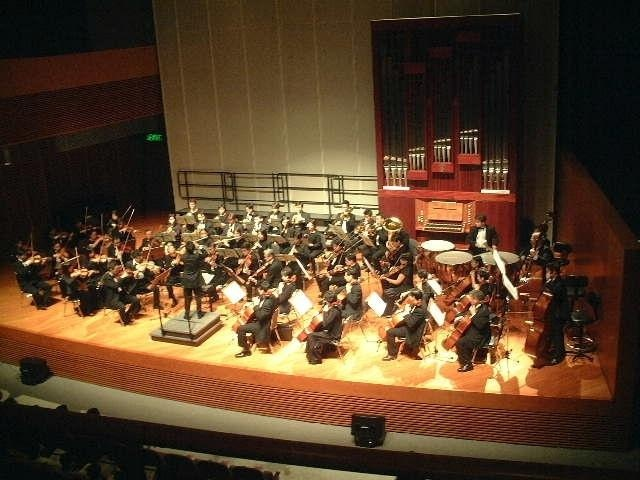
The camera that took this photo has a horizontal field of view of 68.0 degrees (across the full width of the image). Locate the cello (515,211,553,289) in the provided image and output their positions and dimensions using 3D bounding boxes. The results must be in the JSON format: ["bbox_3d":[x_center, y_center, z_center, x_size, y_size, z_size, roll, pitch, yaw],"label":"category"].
[{"bbox_3d":[4.532,0.255,9.665,0.490,1.461,0.652,-8,15,-2],"label":"cello"}]

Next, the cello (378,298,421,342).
[{"bbox_3d":[1.474,1.506,8.740,0.825,1.105,0.545,6,27,15],"label":"cello"}]

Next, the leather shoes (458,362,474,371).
[{"bbox_3d":[2.514,2.213,8.185,0.263,0.087,0.107,-1,11,-5],"label":"leather shoes"}]

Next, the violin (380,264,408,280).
[{"bbox_3d":[1.525,0.691,9.778,0.531,0.271,0.269,-2,13,5],"label":"violin"}]

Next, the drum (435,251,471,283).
[{"bbox_3d":[2.768,0.539,9.852,0.759,0.435,0.669,-2,11,1],"label":"drum"}]

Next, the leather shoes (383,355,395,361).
[{"bbox_3d":[1.258,2.161,8.644,0.195,0.065,0.089,3,11,3],"label":"leather shoes"}]

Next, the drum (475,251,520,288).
[{"bbox_3d":[3.484,0.538,9.421,0.751,0.551,0.617,7,17,39],"label":"drum"}]

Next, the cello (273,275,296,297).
[{"bbox_3d":[-0.763,0.896,9.536,0.441,0.386,0.191,27,-8,-27],"label":"cello"}]

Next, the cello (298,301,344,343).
[{"bbox_3d":[0.122,1.536,8.742,0.799,0.258,0.823,-41,-5,40],"label":"cello"}]

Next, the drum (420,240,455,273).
[{"bbox_3d":[2.485,0.388,10.551,0.832,0.660,0.739,-1,18,2],"label":"drum"}]

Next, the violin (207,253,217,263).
[{"bbox_3d":[-2.543,0.414,11.171,0.140,0.152,0.409,13,14,19],"label":"violin"}]

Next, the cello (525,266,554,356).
[{"bbox_3d":[3.741,1.456,7.989,0.483,1.329,0.537,4,14,25],"label":"cello"}]

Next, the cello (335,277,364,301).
[{"bbox_3d":[0.580,0.986,9.404,0.497,0.455,0.356,-5,13,-8],"label":"cello"}]

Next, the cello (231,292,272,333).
[{"bbox_3d":[-1.280,1.478,9.188,0.690,0.745,0.779,3,13,24],"label":"cello"}]

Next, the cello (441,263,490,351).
[{"bbox_3d":[2.764,1.334,8.965,0.865,1.612,0.897,-12,18,-33],"label":"cello"}]
